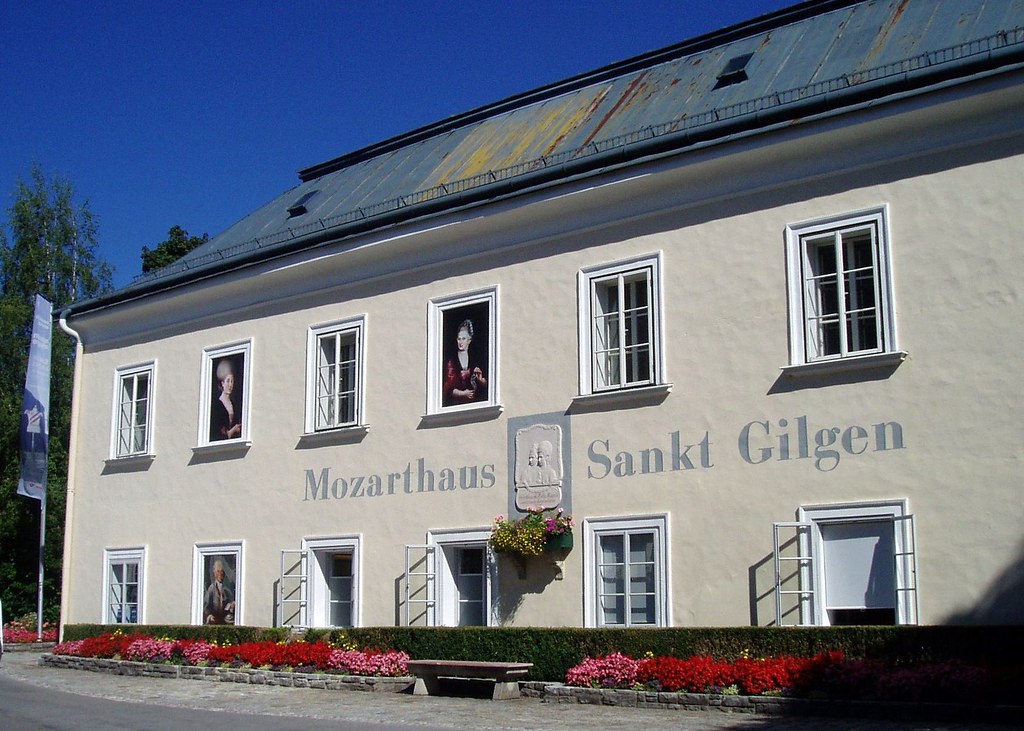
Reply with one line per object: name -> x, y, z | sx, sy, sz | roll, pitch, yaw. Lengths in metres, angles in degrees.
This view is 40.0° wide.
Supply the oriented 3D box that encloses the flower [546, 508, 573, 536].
flower -> 0.846, 2.891, 25.672 | 0.393, 0.302, 0.415 | -3, -5, -15
